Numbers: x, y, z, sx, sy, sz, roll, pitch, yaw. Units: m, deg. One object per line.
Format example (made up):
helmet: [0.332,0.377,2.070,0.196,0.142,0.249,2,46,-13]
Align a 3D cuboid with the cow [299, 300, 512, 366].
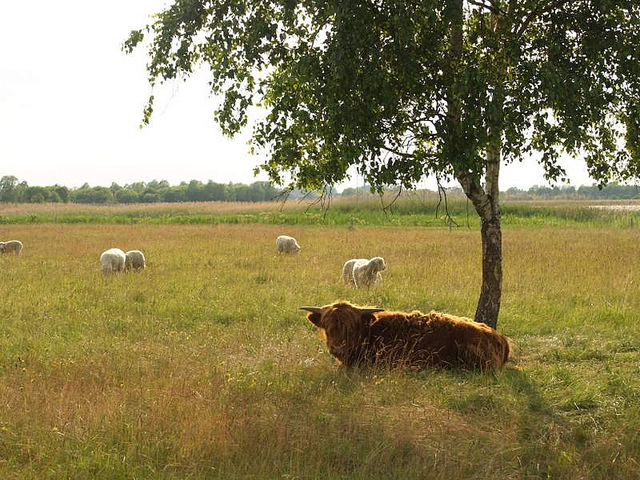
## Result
cow: [1.943,1.896,21.230,4.458,2.363,1.778,2,-3,5]

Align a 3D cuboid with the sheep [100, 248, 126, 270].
sheep: [-6.097,0.601,28.282,0.449,0.596,0.901,-1,3,19]

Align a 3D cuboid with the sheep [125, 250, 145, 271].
sheep: [-5.581,0.622,28.802,0.689,0.562,0.534,-4,3,-24]

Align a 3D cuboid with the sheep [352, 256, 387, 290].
sheep: [1.250,0.896,26.380,0.732,0.810,1.112,-4,3,-25]

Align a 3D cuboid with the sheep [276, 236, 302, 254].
sheep: [-1.116,0.177,33.612,0.387,0.577,1.024,-4,3,-35]
